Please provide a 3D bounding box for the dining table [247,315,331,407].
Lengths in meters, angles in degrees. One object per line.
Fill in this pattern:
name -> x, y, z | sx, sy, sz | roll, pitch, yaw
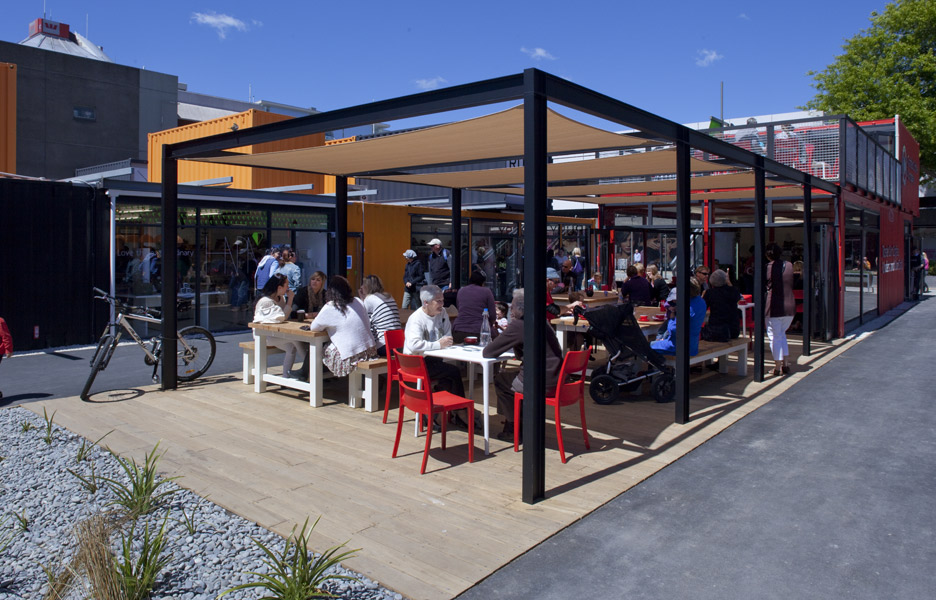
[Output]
dining table -> -2.759, 1.010, 10.645 | 1.329, 0.992, 1.340 | 5, 5, 16

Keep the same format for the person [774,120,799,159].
person -> 6.974, -3.385, 16.182 | 0.413, 0.744, 0.725 | 3, -1, 38

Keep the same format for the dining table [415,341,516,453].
dining table -> 0.282, 1.206, 9.608 | 1.177, 0.941, 1.154 | -7, 8, -39

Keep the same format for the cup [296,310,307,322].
cup -> -2.473, 0.293, 11.287 | 0.166, 0.130, 0.170 | -2, -4, 0

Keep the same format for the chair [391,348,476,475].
chair -> -0.409, 1.353, 9.097 | 0.941, 1.349, 1.005 | 3, 6, 33
